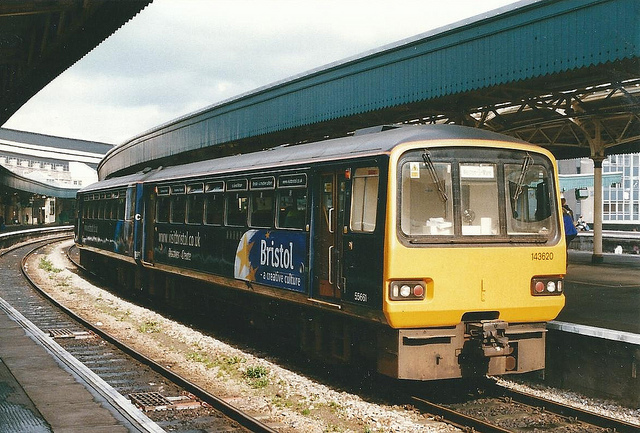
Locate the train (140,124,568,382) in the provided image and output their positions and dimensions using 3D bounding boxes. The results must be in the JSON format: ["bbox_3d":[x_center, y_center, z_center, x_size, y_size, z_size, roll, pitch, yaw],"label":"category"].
[{"bbox_3d":[-1.274,0.797,15.052,3.941,4.336,13.955,0,-2,-25],"label":"train"}]

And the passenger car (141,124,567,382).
[{"bbox_3d":[-1.036,0.624,13.559,3.129,3.546,12.756,-1,1,-43],"label":"passenger car"}]
